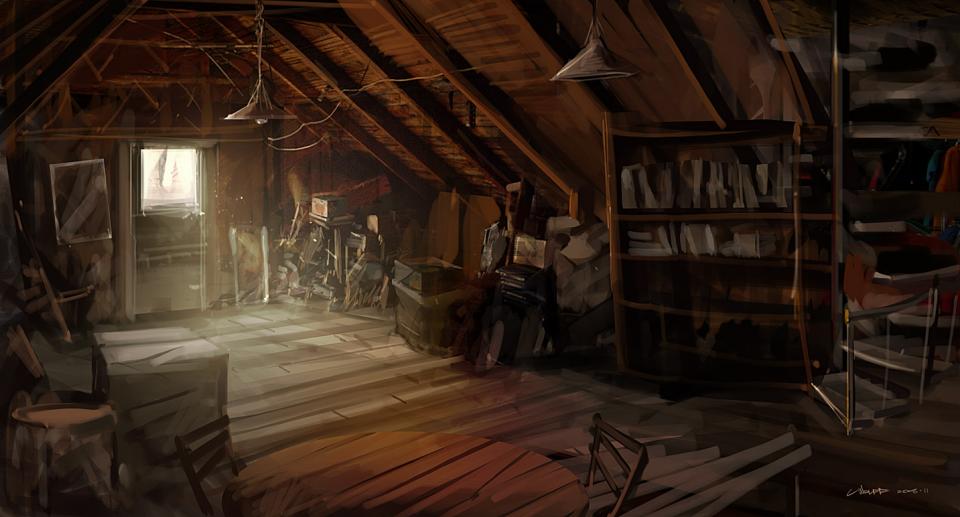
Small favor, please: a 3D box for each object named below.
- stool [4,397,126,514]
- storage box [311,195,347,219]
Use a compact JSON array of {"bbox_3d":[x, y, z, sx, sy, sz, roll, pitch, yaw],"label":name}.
[{"bbox_3d":[-3.934,1.856,6.513,1.106,0.954,1.050,3,-2,-34],"label":"stool"},{"bbox_3d":[-2.802,-0.956,12.335,0.552,0.289,0.521,-8,17,-36],"label":"storage box"}]
